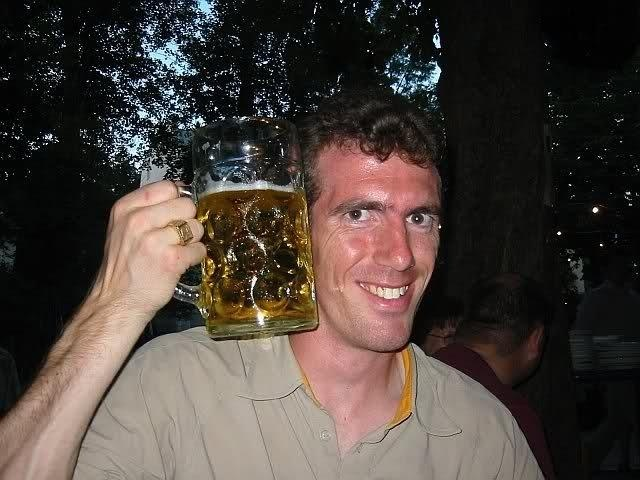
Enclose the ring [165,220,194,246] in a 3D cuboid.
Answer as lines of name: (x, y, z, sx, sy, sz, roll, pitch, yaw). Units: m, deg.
ring: (-0.496, -0.025, 1.805, 0.035, 0.065, 0.065, -19, 35, -33)
